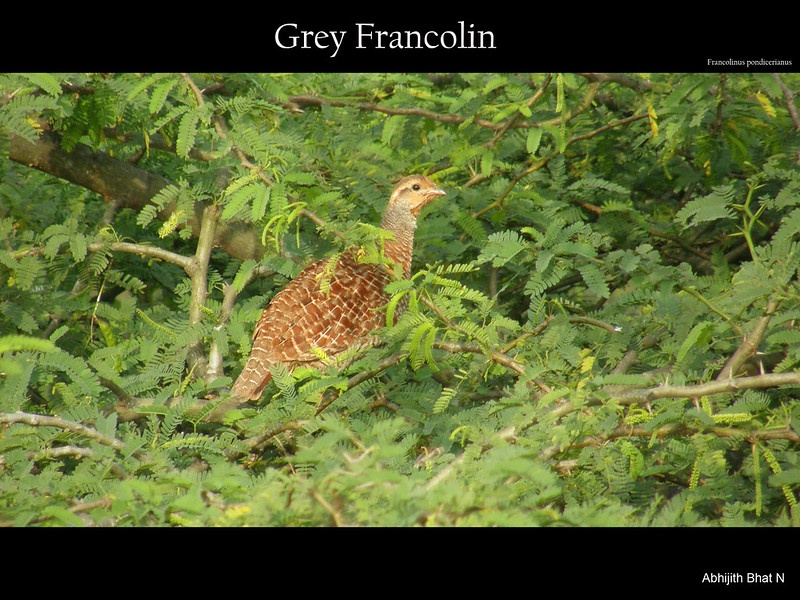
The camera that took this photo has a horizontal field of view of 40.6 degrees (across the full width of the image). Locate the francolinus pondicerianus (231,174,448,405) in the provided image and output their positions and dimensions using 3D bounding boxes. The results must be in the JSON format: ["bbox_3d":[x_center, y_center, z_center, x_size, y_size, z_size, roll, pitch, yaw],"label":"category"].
[{"bbox_3d":[-0.303,-0.073,5.264,0.552,0.591,1.557,15,45,22],"label":"francolinus pondicerianus"}]
